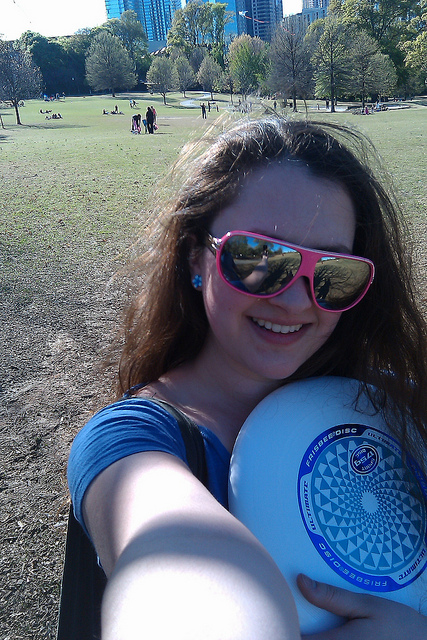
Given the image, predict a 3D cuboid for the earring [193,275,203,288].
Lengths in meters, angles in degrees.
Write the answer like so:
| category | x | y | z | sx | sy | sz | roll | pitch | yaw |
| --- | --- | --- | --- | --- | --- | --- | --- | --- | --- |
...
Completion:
| category | x | y | z | sx | sy | sz | roll | pitch | yaw |
| --- | --- | --- | --- | --- | --- | --- | --- | --- | --- |
| earring | -0.045 | -0.110 | 1.355 | 0.025 | 0.036 | 0.020 | 5 | 5 | 20 |
